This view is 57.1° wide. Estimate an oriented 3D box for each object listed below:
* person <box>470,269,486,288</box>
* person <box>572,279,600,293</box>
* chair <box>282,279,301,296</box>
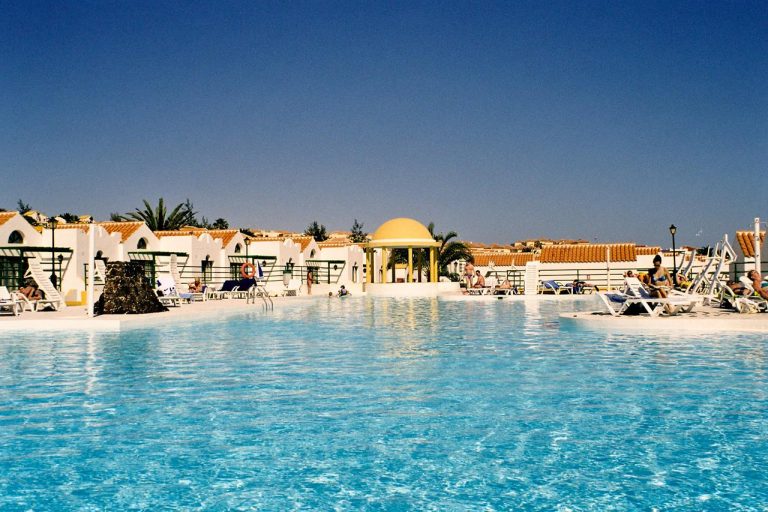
[{"bbox_3d":[4.593,1.129,34.230,0.996,0.926,0.688,-1,-6,0],"label":"person"},{"bbox_3d":[9.990,1.618,35.244,0.942,0.350,1.227,0,0,25],"label":"person"},{"bbox_3d":[-4.404,1.594,34.036,0.761,0.805,1.891,-1,7,-7],"label":"chair"}]
